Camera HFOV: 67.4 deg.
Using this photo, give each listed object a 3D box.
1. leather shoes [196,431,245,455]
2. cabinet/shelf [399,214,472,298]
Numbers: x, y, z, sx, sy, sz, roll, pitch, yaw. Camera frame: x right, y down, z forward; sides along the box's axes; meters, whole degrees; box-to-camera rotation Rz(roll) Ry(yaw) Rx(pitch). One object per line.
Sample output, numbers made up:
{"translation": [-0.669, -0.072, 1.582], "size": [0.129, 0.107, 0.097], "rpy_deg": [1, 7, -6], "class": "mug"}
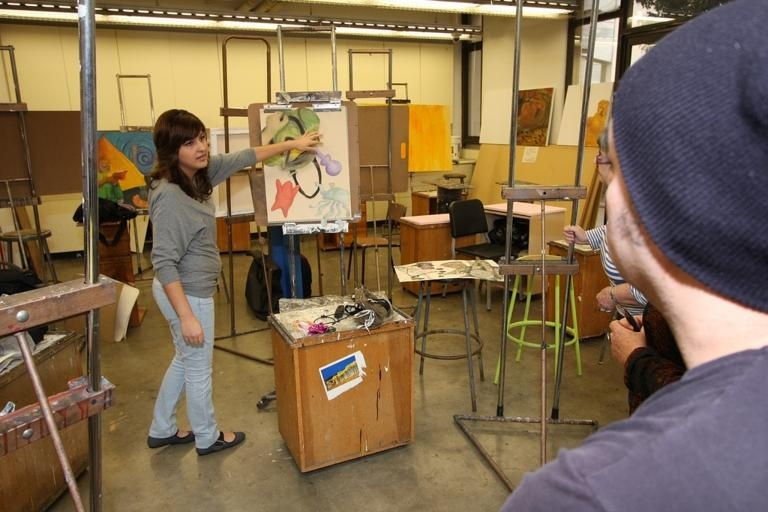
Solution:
{"translation": [-0.843, 0.979, 3.001], "size": [0.088, 0.089, 0.240], "rpy_deg": [11, 18, 39], "class": "leather shoes"}
{"translation": [0.419, -0.026, 4.633], "size": [0.642, 0.651, 0.377], "rpy_deg": [-5, 19, -15], "class": "cabinet/shelf"}
